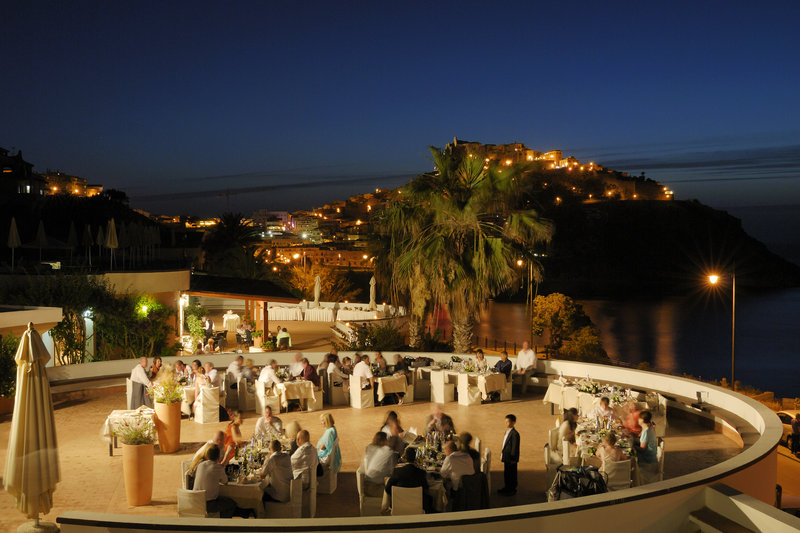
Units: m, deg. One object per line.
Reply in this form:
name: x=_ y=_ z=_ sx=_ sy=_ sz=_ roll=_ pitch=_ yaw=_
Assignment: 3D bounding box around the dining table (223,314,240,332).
dining table: x=-8.511 y=2.817 z=32.342 sx=0.890 sy=0.887 sz=0.822 roll=0 pitch=-3 yaw=-4
